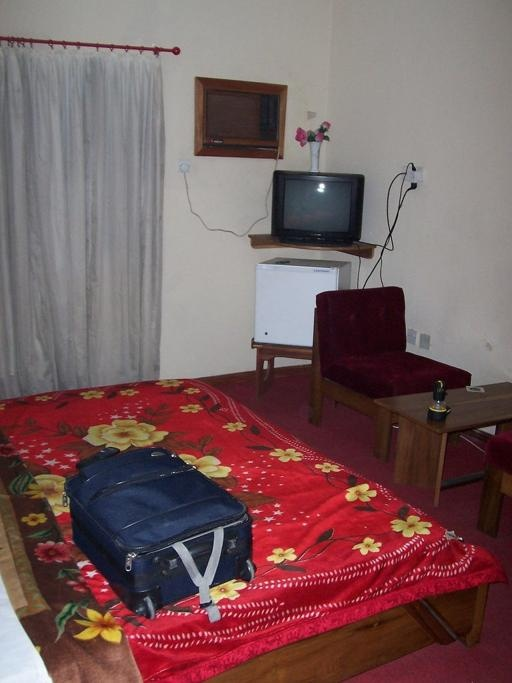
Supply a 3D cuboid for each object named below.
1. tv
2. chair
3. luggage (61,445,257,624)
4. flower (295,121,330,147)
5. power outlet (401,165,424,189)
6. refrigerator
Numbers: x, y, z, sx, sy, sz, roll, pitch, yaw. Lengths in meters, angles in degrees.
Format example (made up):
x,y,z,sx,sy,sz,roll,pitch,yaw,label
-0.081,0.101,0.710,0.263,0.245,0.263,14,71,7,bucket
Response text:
x,y,z,sx,sy,sz,roll,pitch,yaw,label
0.388,-0.893,4.085,0.880,0.662,0.475,2,15,4,tv
0.947,0.094,3.424,0.791,1.034,0.988,-7,13,-24,chair
-0.242,0.420,1.342,0.290,0.185,0.535,-9,15,-36,luggage
0.414,-1.511,4.154,0.256,0.205,0.454,6,13,6,flower
0.997,-1.032,3.614,0.139,0.133,0.142,19,22,33,power outlet
0.264,-0.374,3.965,0.732,0.707,0.539,5,12,23,refrigerator
